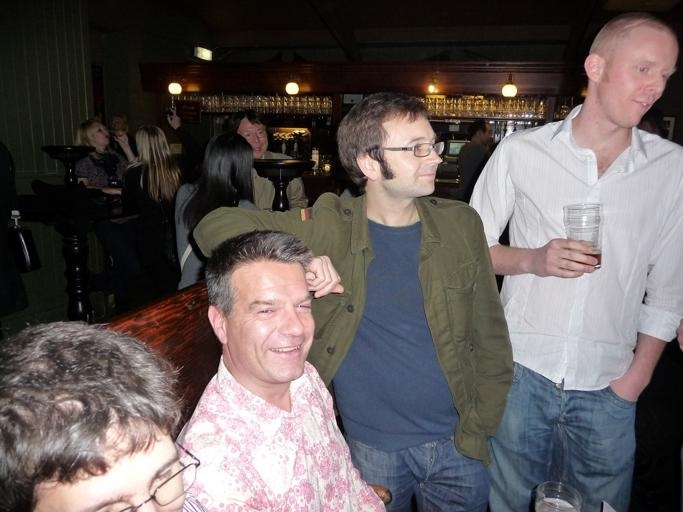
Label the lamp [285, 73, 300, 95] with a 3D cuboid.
[{"bbox_3d":[-0.860,-2.871,8.480,0.134,0.279,0.262,4,11,13],"label":"lamp"}]

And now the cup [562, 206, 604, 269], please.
[{"bbox_3d":[0.906,-0.076,1.861,0.128,0.237,0.146,-5,5,2],"label":"cup"}]

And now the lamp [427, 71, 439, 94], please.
[{"bbox_3d":[1.482,-2.811,8.079,0.191,0.331,0.138,-1,11,15],"label":"lamp"}]

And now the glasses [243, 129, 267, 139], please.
[{"bbox_3d":[-0.852,-1.156,4.794,0.179,0.122,0.231,-13,9,-25],"label":"glasses"}]

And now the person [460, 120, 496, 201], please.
[{"bbox_3d":[1.913,-1.174,7.280,0.439,1.579,0.420,8,34,16],"label":"person"}]

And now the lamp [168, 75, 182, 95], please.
[{"bbox_3d":[-2.999,-3.029,8.982,0.295,0.326,0.303,10,3,-20],"label":"lamp"}]
